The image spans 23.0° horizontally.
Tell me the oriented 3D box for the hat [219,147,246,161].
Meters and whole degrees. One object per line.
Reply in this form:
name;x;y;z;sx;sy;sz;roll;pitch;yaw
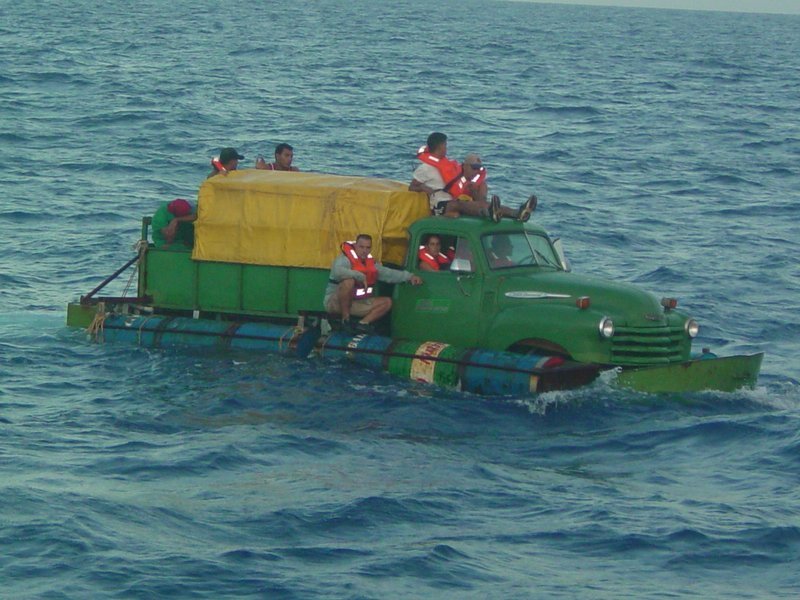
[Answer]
hat;-3.669;-3.199;42.801;0.618;0.268;0.368;-10;18;-26

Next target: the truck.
truck;0.128;-0.136;41.114;11.252;2.660;5.620;4;8;24

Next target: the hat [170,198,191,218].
hat;-4.827;-2.030;42.385;0.377;0.220;0.446;17;19;-16
